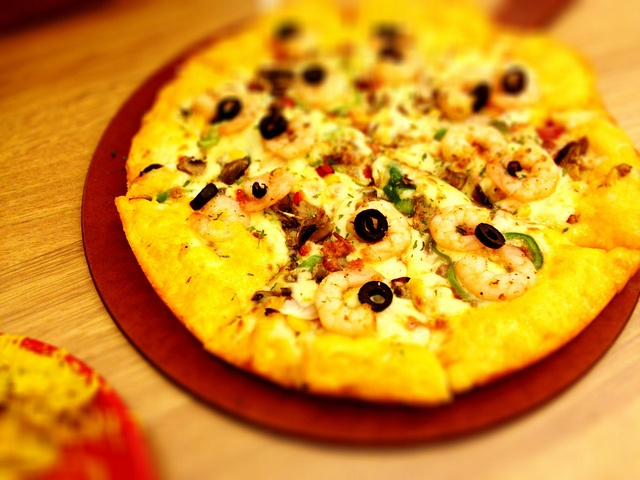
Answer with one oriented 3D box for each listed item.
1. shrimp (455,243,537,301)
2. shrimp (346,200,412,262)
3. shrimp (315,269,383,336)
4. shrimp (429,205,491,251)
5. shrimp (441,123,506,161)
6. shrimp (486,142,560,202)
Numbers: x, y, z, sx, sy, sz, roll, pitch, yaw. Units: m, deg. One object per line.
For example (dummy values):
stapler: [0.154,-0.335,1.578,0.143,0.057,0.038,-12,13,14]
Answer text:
shrimp: [1.557,0.263,5.249,0.676,0.209,0.577,-19,40,-1]
shrimp: [0.533,-0.115,5.364,0.521,0.190,0.521,-37,80,-22]
shrimp: [0.221,0.483,5.008,0.512,0.170,0.618,9,68,1]
shrimp: [1.248,-0.137,5.390,0.448,0.133,0.401,-38,63,-24]
shrimp: [1.489,-0.963,5.970,0.686,0.333,0.320,1,23,21]
shrimp: [1.927,-0.621,5.694,0.562,0.211,0.585,-32,72,-16]
